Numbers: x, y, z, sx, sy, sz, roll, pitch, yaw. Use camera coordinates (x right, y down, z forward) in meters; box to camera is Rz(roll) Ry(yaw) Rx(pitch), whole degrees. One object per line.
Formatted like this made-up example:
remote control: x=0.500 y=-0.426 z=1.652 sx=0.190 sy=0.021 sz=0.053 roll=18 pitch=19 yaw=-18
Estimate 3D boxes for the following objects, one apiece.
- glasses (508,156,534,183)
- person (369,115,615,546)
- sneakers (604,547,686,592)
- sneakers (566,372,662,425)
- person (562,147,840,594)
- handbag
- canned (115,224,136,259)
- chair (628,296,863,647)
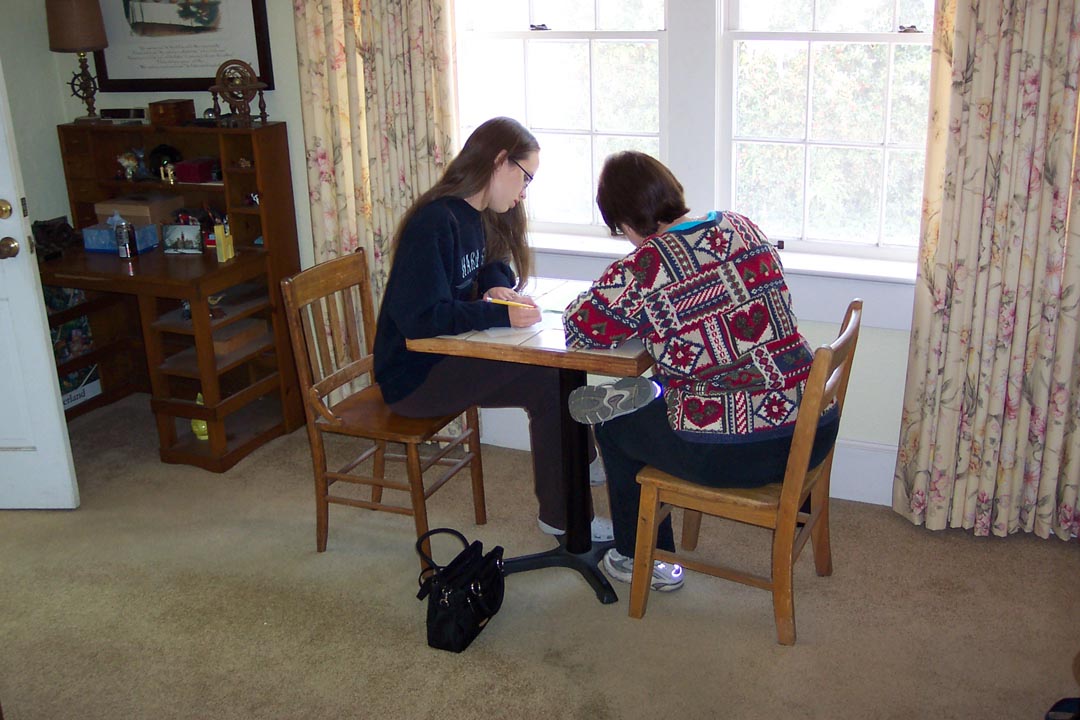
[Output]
glasses: x=-0.049 y=-0.751 z=3.370 sx=0.075 sy=0.095 sz=0.178 roll=7 pitch=18 yaw=20
person: x=-0.182 y=-0.103 z=3.522 sx=0.994 sy=1.695 sz=0.713 roll=1 pitch=11 yaw=9
sneakers: x=0.427 y=0.840 z=3.487 sx=0.309 sy=0.139 sz=0.144 roll=6 pitch=11 yaw=35
sneakers: x=0.275 y=0.145 z=3.097 sx=0.305 sy=0.145 sz=0.121 roll=-11 pitch=-13 yaw=11
person: x=0.577 y=0.092 z=3.262 sx=1.110 sy=1.624 sz=0.838 roll=8 pitch=17 yaw=37
handbag: x=-0.293 y=0.836 z=3.231 sx=0.330 sy=0.411 sz=0.321 roll=0 pitch=17 yaw=-3
canned: x=-2.087 y=-0.608 z=4.354 sx=0.089 sy=0.170 sz=0.150 roll=-9 pitch=20 yaw=-29
chair: x=0.792 y=0.398 z=3.298 sx=0.864 sy=1.146 sz=0.874 roll=-14 pitch=20 yaw=-31
